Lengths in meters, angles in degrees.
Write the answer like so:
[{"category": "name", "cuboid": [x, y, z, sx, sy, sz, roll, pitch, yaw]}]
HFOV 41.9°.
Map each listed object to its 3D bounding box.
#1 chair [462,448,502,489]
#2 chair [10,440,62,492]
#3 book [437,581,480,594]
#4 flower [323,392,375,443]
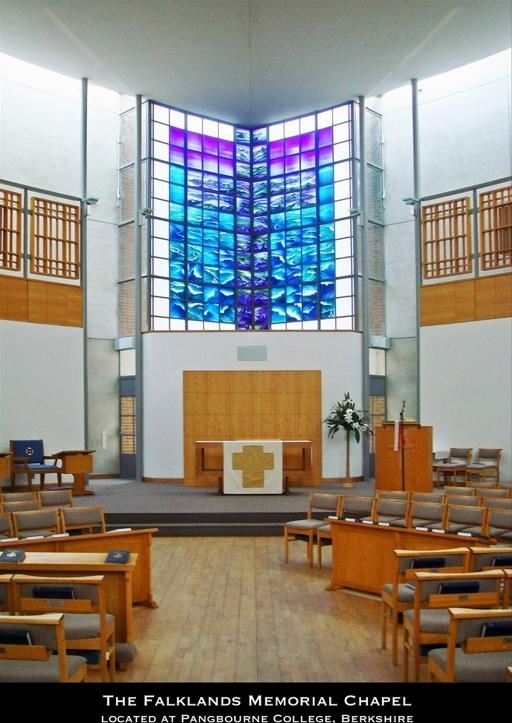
[{"category": "chair", "cuboid": [3.664, 1.725, 10.863, 0.538, 0.862, 0.628, -6, -10, 43]}, {"category": "chair", "cuboid": [-3.458, 1.690, 10.825, 0.766, 1.045, 0.851, 3, -6, -44]}, {"category": "book", "cuboid": [1.106, 1.234, 3.649, 0.215, 0.073, 0.046, -3, 0, 6]}, {"category": "flower", "cuboid": [1.830, 1.078, 12.937, 0.898, 1.094, 0.957, 0, -1, 32]}]
